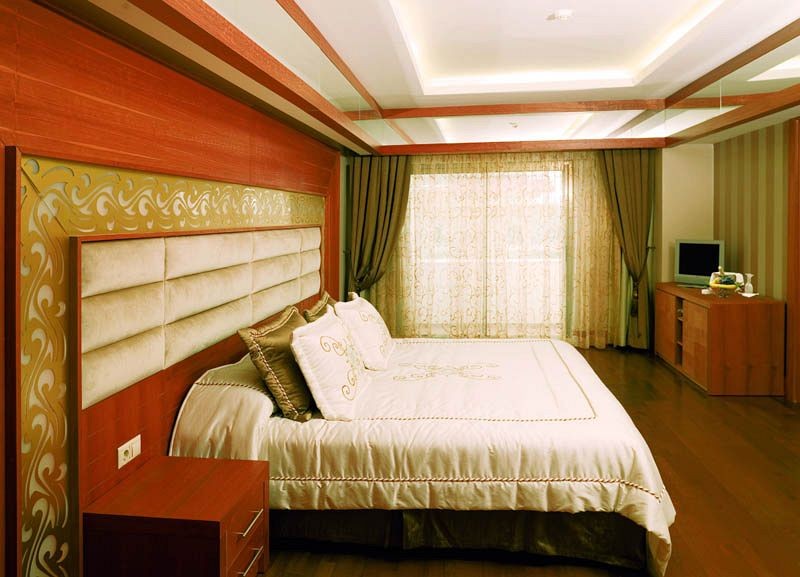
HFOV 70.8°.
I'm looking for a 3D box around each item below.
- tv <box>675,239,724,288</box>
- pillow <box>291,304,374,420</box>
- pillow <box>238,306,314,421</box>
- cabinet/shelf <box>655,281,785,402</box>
[{"bbox_3d":[3.098,-0.252,5.801,0.177,0.526,0.493,-1,0,-32],"label":"tv"},{"bbox_3d":[-0.391,0.246,3.306,0.395,0.405,0.968,9,8,-1],"label":"pillow"},{"bbox_3d":[-0.674,0.459,3.244,0.148,0.518,0.527,-24,-6,23],"label":"pillow"},{"bbox_3d":[3.100,0.212,5.457,0.727,0.992,1.497,0,1,10],"label":"cabinet/shelf"}]
